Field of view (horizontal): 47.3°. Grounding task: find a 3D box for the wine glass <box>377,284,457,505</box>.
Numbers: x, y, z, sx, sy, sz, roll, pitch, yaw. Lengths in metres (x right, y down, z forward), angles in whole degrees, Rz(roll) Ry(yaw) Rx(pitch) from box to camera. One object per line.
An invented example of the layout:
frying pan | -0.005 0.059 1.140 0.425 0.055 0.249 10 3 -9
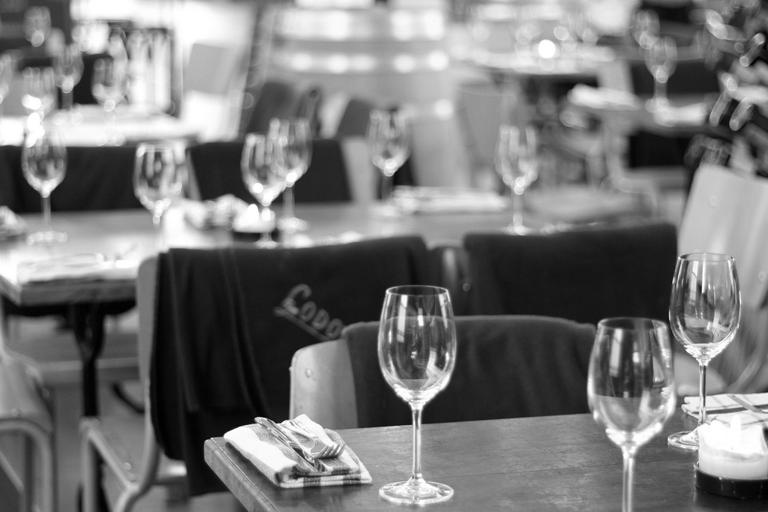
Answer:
wine glass | 0.047 0.177 1.251 0.108 0.287 0.238 -1 19 4
